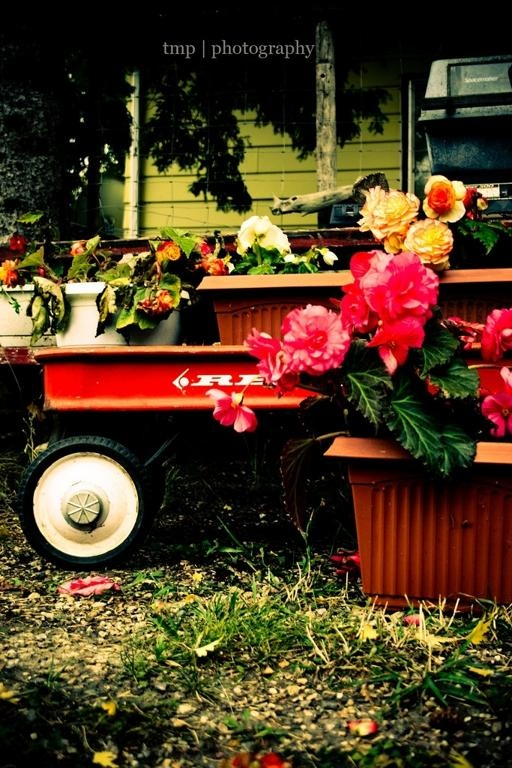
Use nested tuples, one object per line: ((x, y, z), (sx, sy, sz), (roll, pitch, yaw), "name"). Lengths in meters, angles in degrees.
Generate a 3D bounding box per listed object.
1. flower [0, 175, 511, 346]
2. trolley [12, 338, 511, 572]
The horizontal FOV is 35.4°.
((-0.074, -0.343, 2.394), (1.268, 0.220, 0.721), (-1, 3, -1), "flower")
((-0.001, 0.181, 2.292), (1.215, 0.474, 0.619), (1, -1, 1), "trolley")
